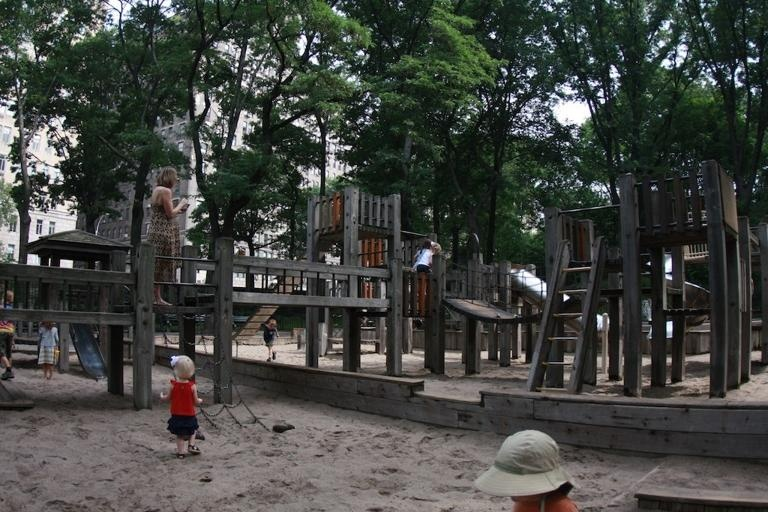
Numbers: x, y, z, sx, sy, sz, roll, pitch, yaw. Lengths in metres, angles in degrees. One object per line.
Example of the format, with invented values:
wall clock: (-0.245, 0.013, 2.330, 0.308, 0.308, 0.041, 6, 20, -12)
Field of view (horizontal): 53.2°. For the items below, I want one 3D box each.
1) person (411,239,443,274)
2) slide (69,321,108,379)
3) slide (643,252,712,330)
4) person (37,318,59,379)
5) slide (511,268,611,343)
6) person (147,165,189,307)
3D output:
person: (1.278, -0.001, 23.523, 0.781, 1.078, 1.375, -1, -5, 5)
slide: (-8.293, 2.604, 21.361, 0.878, 1.441, 2.268, 2, -5, -24)
slide: (9.649, 1.029, 24.759, 1.437, 3.246, 10.957, -2, -5, 23)
person: (-8.940, 2.481, 20.294, 0.444, 1.458, 0.874, 1, -4, -26)
slide: (4.895, 1.370, 21.523, 3.817, 0.843, 1.165, 26, 52, 38)
person: (-5.384, -0.544, 18.774, 0.810, 3.454, 1.512, 1, -4, -18)
